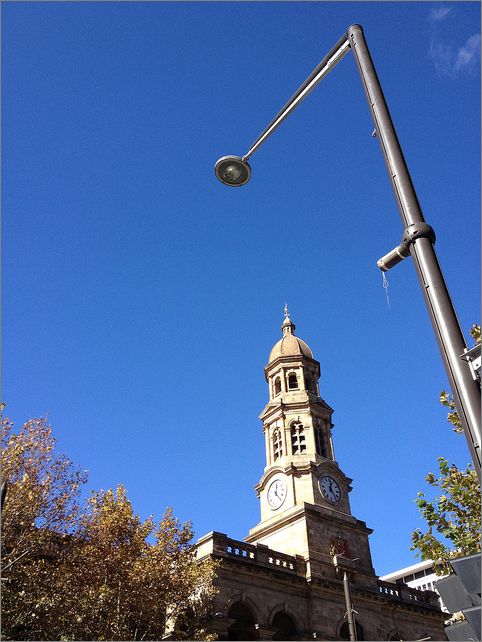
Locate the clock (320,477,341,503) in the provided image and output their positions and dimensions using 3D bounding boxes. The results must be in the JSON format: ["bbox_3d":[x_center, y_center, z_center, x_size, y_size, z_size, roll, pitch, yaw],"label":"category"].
[{"bbox_3d":[5.352,10.284,37.485,1.231,1.287,0.112,27,-50,-34],"label":"clock"}]
